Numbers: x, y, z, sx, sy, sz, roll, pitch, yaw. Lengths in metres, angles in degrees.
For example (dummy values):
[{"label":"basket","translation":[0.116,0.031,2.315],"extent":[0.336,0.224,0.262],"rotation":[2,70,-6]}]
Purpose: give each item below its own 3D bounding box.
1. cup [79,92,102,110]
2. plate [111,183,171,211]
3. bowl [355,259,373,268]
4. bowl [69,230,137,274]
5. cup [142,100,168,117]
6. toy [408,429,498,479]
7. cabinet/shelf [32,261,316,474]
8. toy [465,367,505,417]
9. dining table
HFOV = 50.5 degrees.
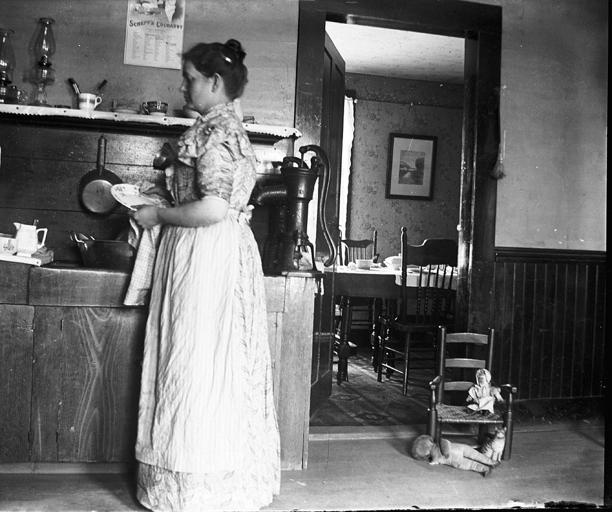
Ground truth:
[{"label":"cup","translation":[-1.114,-0.790,3.345],"extent":[0.117,0.098,0.098],"rotation":[0,5,-24]},{"label":"plate","translation":[-0.749,-0.264,2.903],"extent":[0.164,0.049,0.205],"rotation":[31,15,4]},{"label":"bowl","translation":[0.453,0.055,5.343],"extent":[0.102,0.050,0.104],"rotation":[1,-5,0]},{"label":"bowl","translation":[-0.924,0.006,2.956],"extent":[0.239,0.095,0.198],"rotation":[12,-6,-21]},{"label":"cup","translation":[-0.796,-0.767,3.390],"extent":[0.107,0.049,0.091],"rotation":[-3,-5,-10]},{"label":"toy","translation":[0.723,0.990,3.335],"extent":[0.476,0.156,0.177],"rotation":[13,-38,29]},{"label":"cabinet/shelf","translation":[-0.634,0.586,3.233],"extent":[1.516,1.124,0.821],"rotation":[0,-3,-6]},{"label":"toy","translation":[0.955,0.703,3.444],"extent":[0.174,0.242,0.263],"rotation":[4,5,18]},{"label":"dining table","translation":[0.592,0.482,4.939],"extent":[0.759,0.740,0.751],"rotation":[2,5,0]}]
